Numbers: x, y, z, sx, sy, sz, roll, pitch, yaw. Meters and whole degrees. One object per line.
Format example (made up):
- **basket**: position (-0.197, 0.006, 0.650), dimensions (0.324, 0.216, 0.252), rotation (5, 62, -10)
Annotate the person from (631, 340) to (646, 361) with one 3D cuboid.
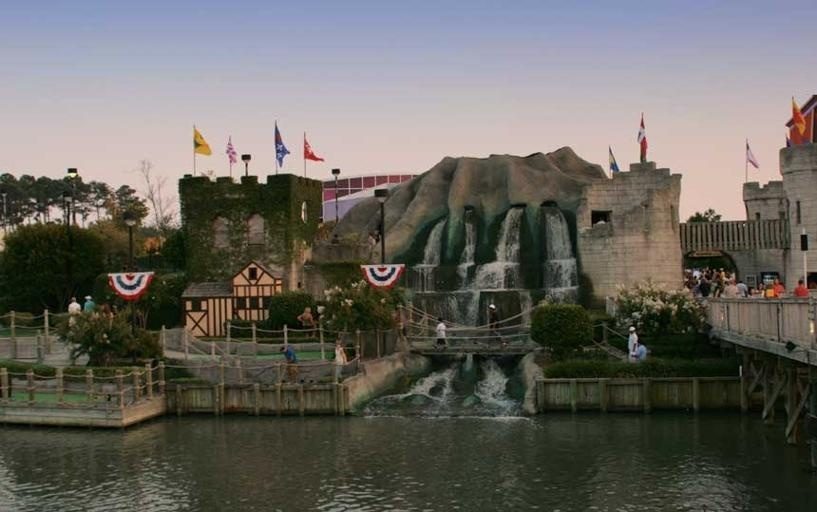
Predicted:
- **person**: position (13.810, 5.615, 90.995), dimensions (0.914, 1.580, 1.164), rotation (2, -1, 4)
